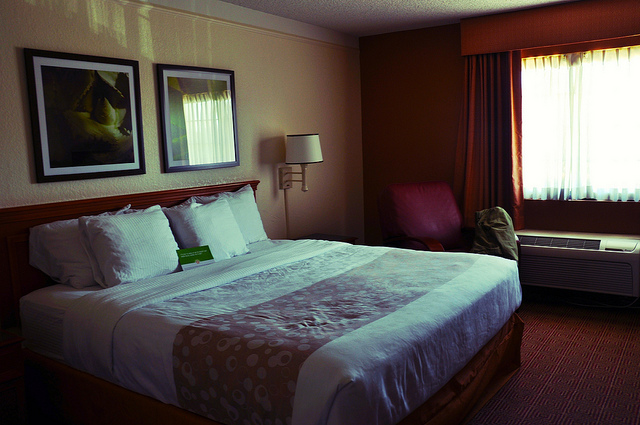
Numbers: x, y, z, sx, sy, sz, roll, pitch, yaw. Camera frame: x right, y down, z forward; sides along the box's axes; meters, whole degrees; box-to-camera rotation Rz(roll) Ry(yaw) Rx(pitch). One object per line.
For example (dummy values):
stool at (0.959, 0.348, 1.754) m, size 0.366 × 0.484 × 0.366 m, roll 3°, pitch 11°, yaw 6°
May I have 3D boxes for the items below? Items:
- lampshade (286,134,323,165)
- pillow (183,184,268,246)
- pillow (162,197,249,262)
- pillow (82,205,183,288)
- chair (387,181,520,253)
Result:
lampshade at (-0.204, -0.752, 5.287) m, size 0.514 × 0.338 × 0.487 m, roll -17°, pitch 14°, yaw -36°
pillow at (-0.957, 0.097, 4.713) m, size 0.187 × 0.601 × 0.648 m, roll -29°, pitch -6°, yaw 39°
pillow at (-1.051, 0.147, 4.072) m, size 0.661 × 0.597 × 0.190 m, roll -20°, pitch -10°, yaw -47°
pillow at (-1.551, 0.291, 3.551) m, size 0.185 × 0.604 × 0.653 m, roll -28°, pitch -8°, yaw 41°
chair at (1.658, 0.004, 5.075) m, size 0.879 × 1.177 × 1.122 m, roll -6°, pitch 3°, yaw -38°
